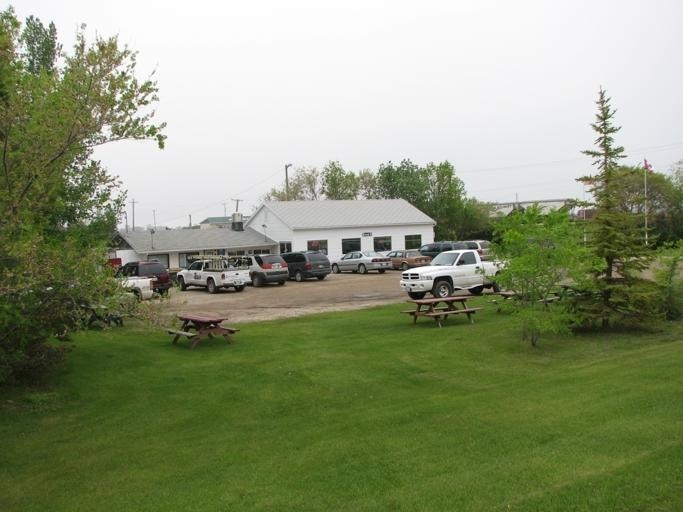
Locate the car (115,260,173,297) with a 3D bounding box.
[{"bbox_3d":[-8.514,0.983,21.776,2.381,1.390,1.504,7,7,32],"label":"car"}]

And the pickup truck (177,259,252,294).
[{"bbox_3d":[-8.004,1.112,30.966,2.372,1.836,5.117,-1,4,-42],"label":"pickup truck"}]

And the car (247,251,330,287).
[{"bbox_3d":[-3.601,0.884,33.327,2.422,2.306,5.150,7,12,44],"label":"car"}]
